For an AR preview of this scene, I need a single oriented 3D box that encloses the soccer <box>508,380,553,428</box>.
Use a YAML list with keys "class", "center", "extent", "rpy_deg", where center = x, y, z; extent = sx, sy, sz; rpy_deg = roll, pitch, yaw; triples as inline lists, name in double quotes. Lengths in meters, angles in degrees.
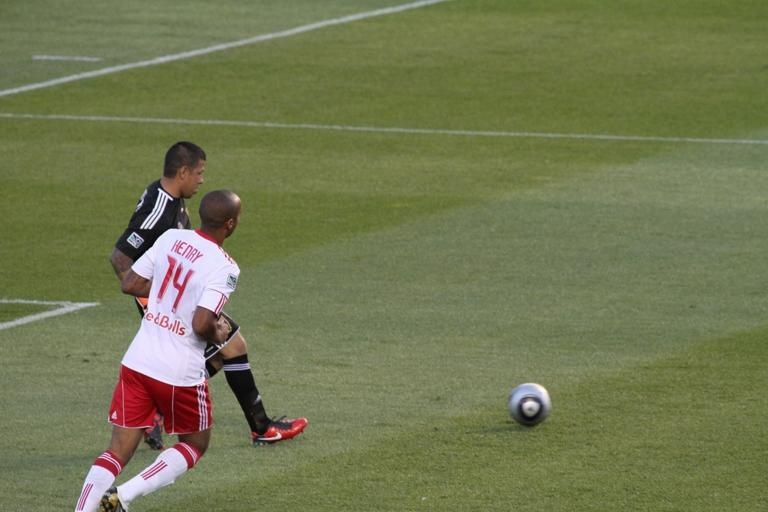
- class: "soccer"
  center: [2.160, 2.137, 25.745]
  extent: [0.717, 0.724, 0.674]
  rpy_deg: [0, 17, -15]
